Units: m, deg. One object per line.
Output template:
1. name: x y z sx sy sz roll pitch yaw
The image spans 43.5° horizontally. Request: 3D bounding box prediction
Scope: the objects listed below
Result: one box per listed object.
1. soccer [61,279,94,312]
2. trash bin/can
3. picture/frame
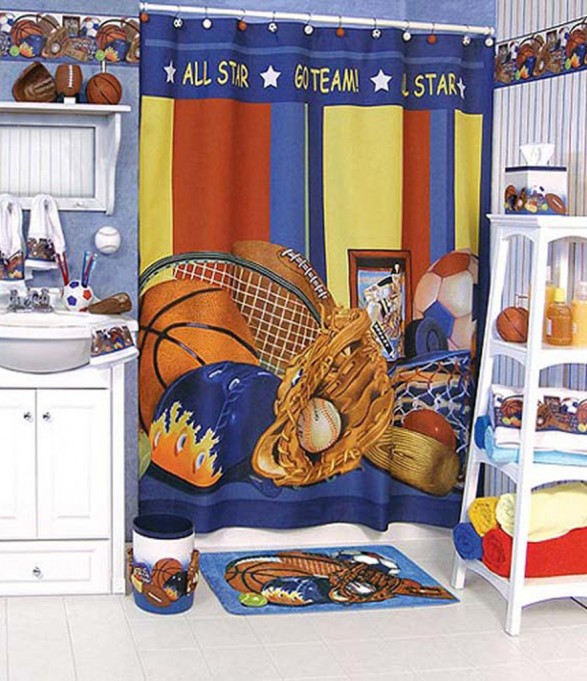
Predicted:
1. soccer: -0.674 -0.144 2.365 0.101 0.111 0.094 1 15 3
2. trash bin/can: -0.372 0.660 2.187 0.183 0.248 0.206 1 2 -18
3. picture/frame: 0.326 -0.116 2.678 0.226 0.403 0.030 -3 13 -21
